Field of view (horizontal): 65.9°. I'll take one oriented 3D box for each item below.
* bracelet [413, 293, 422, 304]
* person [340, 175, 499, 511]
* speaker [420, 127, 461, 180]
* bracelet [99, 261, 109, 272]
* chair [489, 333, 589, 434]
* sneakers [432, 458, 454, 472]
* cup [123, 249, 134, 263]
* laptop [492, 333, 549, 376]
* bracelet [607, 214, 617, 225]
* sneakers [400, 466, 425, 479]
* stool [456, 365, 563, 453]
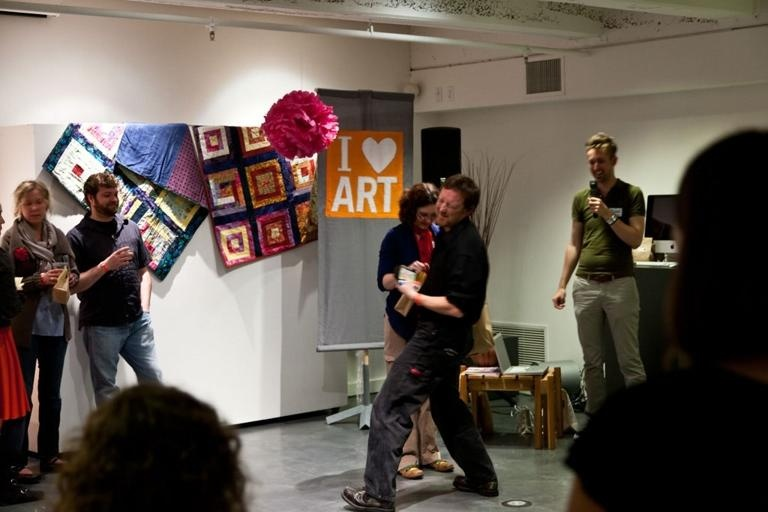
[{"bbox_3d":[0.209,0.273,3.739,0.052,0.053,0.029,17,7,40],"label":"bracelet"},{"bbox_3d":[0.287,0.550,3.843,0.996,2.153,0.493,0,1,-7],"label":"person"},{"bbox_3d":[0.550,-0.976,5.796,0.367,0.578,0.221,0,1,0],"label":"speaker"},{"bbox_3d":[-2.053,0.072,4.358,0.075,0.055,0.074,7,7,17],"label":"bracelet"},{"bbox_3d":[1.431,1.192,5.629,0.877,1.275,1.285,-1,0,17],"label":"chair"},{"bbox_3d":[0.447,1.590,4.496,0.074,0.056,0.154,1,-3,-42],"label":"sneakers"},{"bbox_3d":[-1.905,-0.017,4.431,0.050,0.101,0.133,0,1,-22],"label":"cup"},{"bbox_3d":[1.216,0.797,5.378,0.435,0.342,0.570,-2,0,10],"label":"laptop"},{"bbox_3d":[1.802,-0.288,4.749,0.077,0.057,0.078,-16,31,32],"label":"bracelet"},{"bbox_3d":[0.207,1.579,4.368,0.073,0.076,0.190,3,-7,-30],"label":"sneakers"},{"bbox_3d":[1.081,1.282,5.235,0.811,0.600,0.785,-7,-4,14],"label":"stool"}]
